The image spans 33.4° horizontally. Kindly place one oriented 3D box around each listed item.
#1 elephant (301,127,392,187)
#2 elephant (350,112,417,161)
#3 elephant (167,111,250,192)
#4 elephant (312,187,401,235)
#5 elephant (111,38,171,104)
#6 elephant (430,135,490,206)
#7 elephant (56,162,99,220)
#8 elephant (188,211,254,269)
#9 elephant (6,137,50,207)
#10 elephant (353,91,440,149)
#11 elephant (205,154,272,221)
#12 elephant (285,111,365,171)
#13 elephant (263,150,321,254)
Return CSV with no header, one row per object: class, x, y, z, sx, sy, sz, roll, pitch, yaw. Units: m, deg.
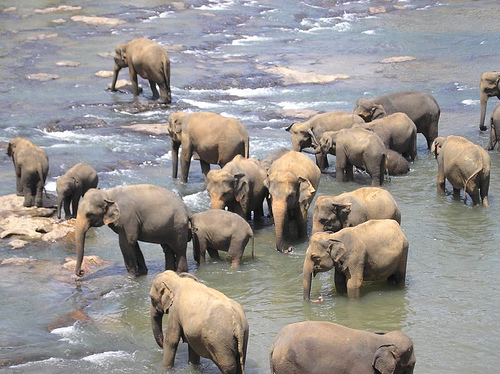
elephant,2.282,-0.691,18.178,2.128,1.238,0.772,6,14,37
elephant,3.124,-1.235,19.912,1.554,1.074,0.862,-2,8,-6
elephant,-0.959,-0.737,18.290,2.387,1.755,0.947,12,18,38
elephant,1.773,0.411,14.349,1.709,0.897,0.644,-5,1,-28
elephant,-3.390,-3.647,25.942,1.221,1.932,3.084,-15,21,-40
elephant,4.271,-0.392,17.159,0.771,1.333,1.639,-5,13,-7
elephant,-3.469,0.080,16.456,0.575,0.996,1.287,5,19,19
elephant,-0.691,0.924,15.010,1.756,0.979,0.648,4,10,25
elephant,-4.451,-0.295,16.941,0.652,1.269,1.216,-7,14,-18
elephant,3.849,-1.886,21.402,2.603,1.369,1.100,1,5,6
elephant,-0.304,0.169,15.993,0.930,1.297,2.170,5,3,25
elephant,1.978,-1.263,19.736,2.233,1.193,0.940,-9,15,17
elephant,0.784,0.249,15.978,0.987,1.537,2.176,2,16,14
